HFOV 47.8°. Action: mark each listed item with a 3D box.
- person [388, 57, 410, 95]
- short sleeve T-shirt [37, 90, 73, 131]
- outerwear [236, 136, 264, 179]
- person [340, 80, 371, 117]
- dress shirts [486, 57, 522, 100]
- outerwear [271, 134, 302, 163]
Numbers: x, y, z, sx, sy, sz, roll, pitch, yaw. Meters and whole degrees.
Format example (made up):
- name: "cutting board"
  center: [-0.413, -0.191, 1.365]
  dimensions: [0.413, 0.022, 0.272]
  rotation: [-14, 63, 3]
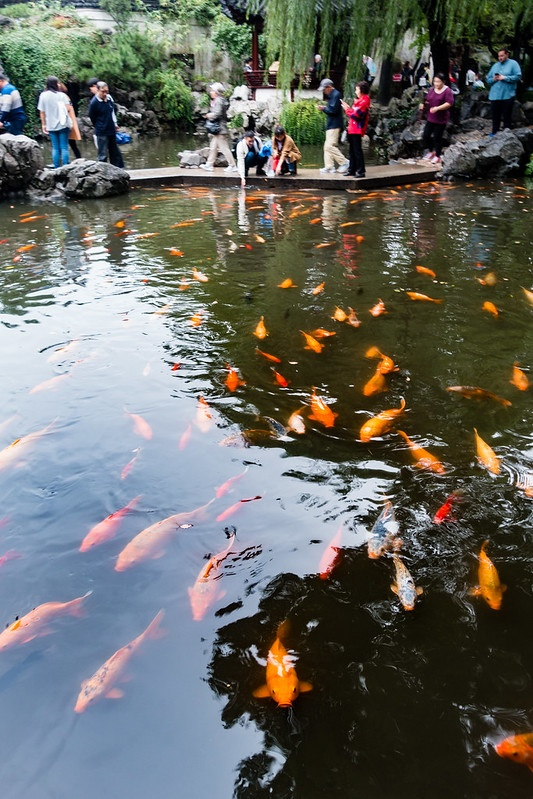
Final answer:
- name: "person"
  center: [5.645, -13.460, 25.176]
  dimensions: [0.736, 1.495, 3.874]
  rotation: [3, 25, 12]
- name: "short sleeve T-shirt"
  center: [-3.493, -4.811, 10.035]
  dimensions: [0.495, 0.616, 0.524]
  rotation: [-11, 26, -18]
- name: "outerwear"
  center: [-0.289, -4.219, 10.530]
  dimensions: [0.473, 0.844, 0.681]
  rotation: [6, 26, 18]
- name: "person"
  center: [1.384, -4.551, 9.056]
  dimensions: [0.331, 0.422, 0.781]
  rotation: [-8, 25, -11]
- name: "dress shirts"
  center: [4.329, -5.860, 11.049]
  dimensions: [0.613, 0.663, 0.483]
  rotation: [14, 29, 32]
- name: "outerwear"
  center: [0.328, -4.300, 10.336]
  dimensions: [0.449, 0.418, 0.459]
  rotation: [-3, 24, -1]
